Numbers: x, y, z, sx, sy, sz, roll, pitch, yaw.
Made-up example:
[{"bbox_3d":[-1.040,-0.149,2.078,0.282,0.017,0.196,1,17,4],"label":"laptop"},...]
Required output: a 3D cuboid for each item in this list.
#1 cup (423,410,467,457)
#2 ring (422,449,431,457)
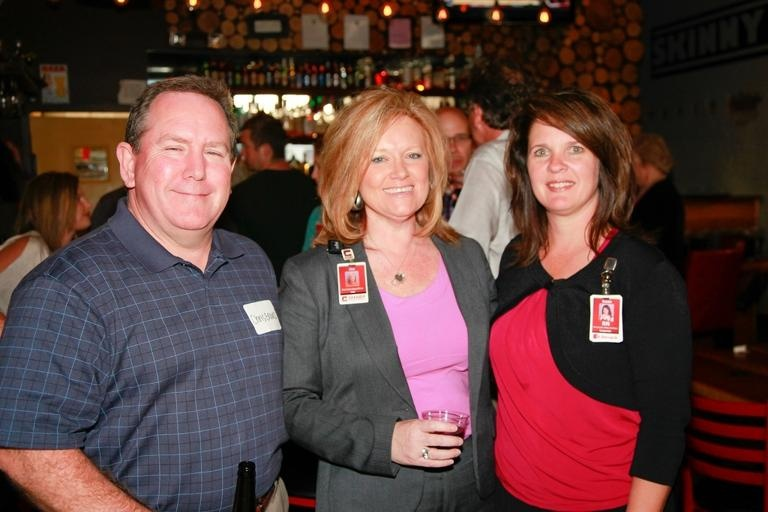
[{"bbox_3d":[0.256,0.763,2.952,0.158,0.112,0.163,1,-16,0],"label":"cup"},{"bbox_3d":[0.183,0.850,2.960,0.034,0.033,0.009,-7,-7,37],"label":"ring"}]
